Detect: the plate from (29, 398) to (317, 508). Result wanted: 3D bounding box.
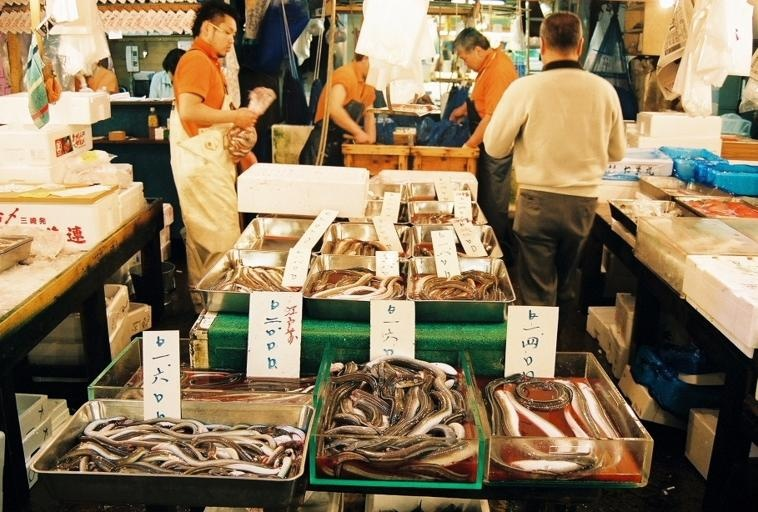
[{"bbox_3d":[-0.727,0.816,2.211,0.949,0.450,0.345,0,15,0],"label":"plate"}]

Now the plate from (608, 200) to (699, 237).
[{"bbox_3d":[1.917,-0.301,4.283,0.342,0.077,0.335,-1,21,-1],"label":"plate"}]

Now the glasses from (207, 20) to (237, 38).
[{"bbox_3d":[-1.241,-1.774,4.689,0.240,0.165,0.087,-8,18,-28],"label":"glasses"}]

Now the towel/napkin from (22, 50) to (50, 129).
[{"bbox_3d":[-2.150,-1.053,3.743,0.122,0.491,0.369,-9,18,-29],"label":"towel/napkin"}]

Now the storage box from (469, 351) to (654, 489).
[{"bbox_3d":[0.628,0.744,2.395,0.664,0.176,0.655,3,-2,-11],"label":"storage box"}]

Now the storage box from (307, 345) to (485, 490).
[{"bbox_3d":[0.065,0.560,2.135,0.512,0.168,0.486,1,33,1],"label":"storage box"}]

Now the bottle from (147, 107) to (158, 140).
[{"bbox_3d":[-2.395,-1.398,6.310,0.113,0.324,0.129,-1,16,-4],"label":"bottle"}]

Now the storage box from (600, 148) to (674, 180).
[{"bbox_3d":[2.171,-0.751,4.941,0.402,0.129,0.372,3,24,13],"label":"storage box"}]

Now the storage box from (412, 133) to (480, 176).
[{"bbox_3d":[0.653,-0.963,5.948,0.664,0.230,0.303,-1,15,-3],"label":"storage box"}]

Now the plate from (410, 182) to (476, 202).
[{"bbox_3d":[0.399,-0.465,4.311,0.325,0.054,0.215,-5,18,-7],"label":"plate"}]

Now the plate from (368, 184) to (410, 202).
[{"bbox_3d":[0.072,-0.451,4.239,0.277,0.103,0.235,0,15,-1],"label":"plate"}]

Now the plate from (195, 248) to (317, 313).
[{"bbox_3d":[-0.652,0.110,2.837,0.382,0.086,0.369,4,26,3],"label":"plate"}]

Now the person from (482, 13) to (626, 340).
[{"bbox_3d":[1.285,-0.553,4.436,0.904,2.443,0.803,-19,34,-14],"label":"person"}]

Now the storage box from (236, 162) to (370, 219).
[{"bbox_3d":[-0.461,-0.396,3.757,0.783,0.288,0.404,2,15,7],"label":"storage box"}]

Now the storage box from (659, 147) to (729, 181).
[{"bbox_3d":[2.623,-0.804,5.028,0.372,0.103,0.391,2,28,6],"label":"storage box"}]
